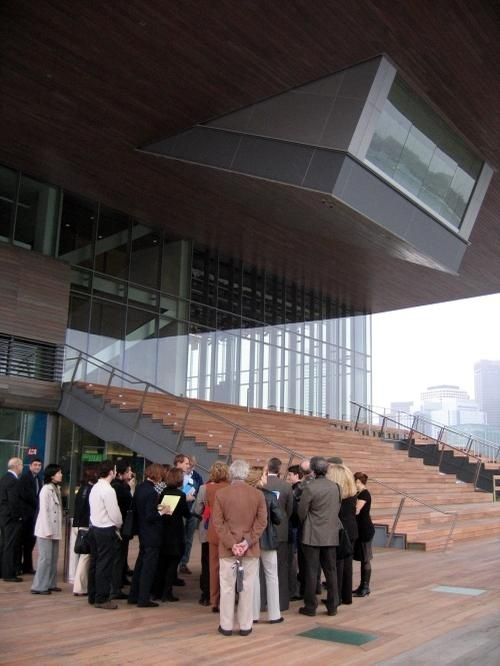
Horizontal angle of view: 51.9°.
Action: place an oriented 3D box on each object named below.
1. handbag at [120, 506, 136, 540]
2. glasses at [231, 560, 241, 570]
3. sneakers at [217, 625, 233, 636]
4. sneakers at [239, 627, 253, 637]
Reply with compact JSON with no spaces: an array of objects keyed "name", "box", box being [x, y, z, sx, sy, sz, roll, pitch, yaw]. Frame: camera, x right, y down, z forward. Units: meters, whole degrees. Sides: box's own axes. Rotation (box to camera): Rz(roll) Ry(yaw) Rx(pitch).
[{"name":"handbag","box":[-1.326,2.037,5.571,0.156,0.417,0.436,4,-10,-14]},{"name":"glasses","box":[-0.126,1.945,4.313,0.063,0.033,0.063,10,-9,-3]},{"name":"sneakers","box":[-0.209,2.477,4.276,0.058,0.078,0.111,7,-3,-30]},{"name":"sneakers","box":[-0.049,2.479,4.264,0.042,0.051,0.123,1,-21,7]}]
